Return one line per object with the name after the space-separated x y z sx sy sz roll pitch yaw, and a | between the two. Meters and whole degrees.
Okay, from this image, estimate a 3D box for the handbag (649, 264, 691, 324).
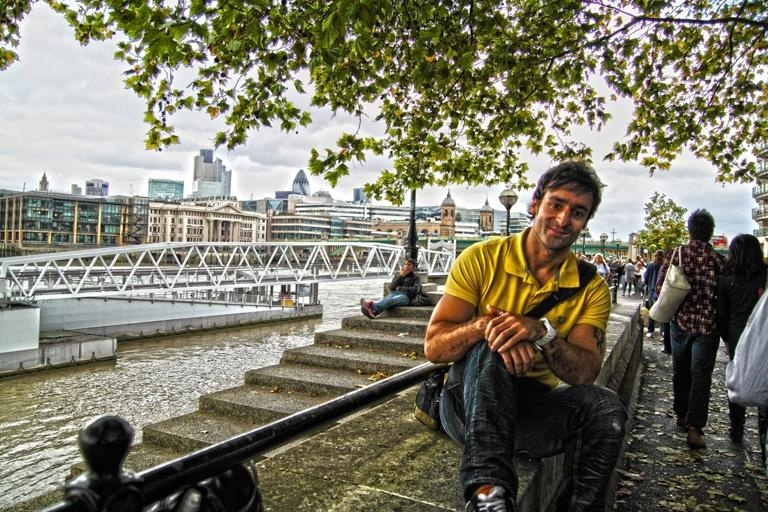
3.588 0.430 6.294 0.299 0.825 0.638 14 19 28 | handbag

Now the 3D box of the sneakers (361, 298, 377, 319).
-0.314 1.058 10.057 0.236 0.513 0.175 0 -20 -45 | sneakers

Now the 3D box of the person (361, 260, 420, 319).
0.261 0.629 10.561 0.736 1.111 1.828 2 1 30 | person

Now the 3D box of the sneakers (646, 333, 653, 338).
7.081 2.095 13.768 0.118 0.085 0.216 -5 -9 23 | sneakers

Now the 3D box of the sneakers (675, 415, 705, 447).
3.625 2.077 6.119 0.181 0.225 0.541 -6 -7 33 | sneakers

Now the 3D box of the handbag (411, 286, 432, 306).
0.803 0.905 10.837 0.346 0.436 0.633 -1 -5 16 | handbag
